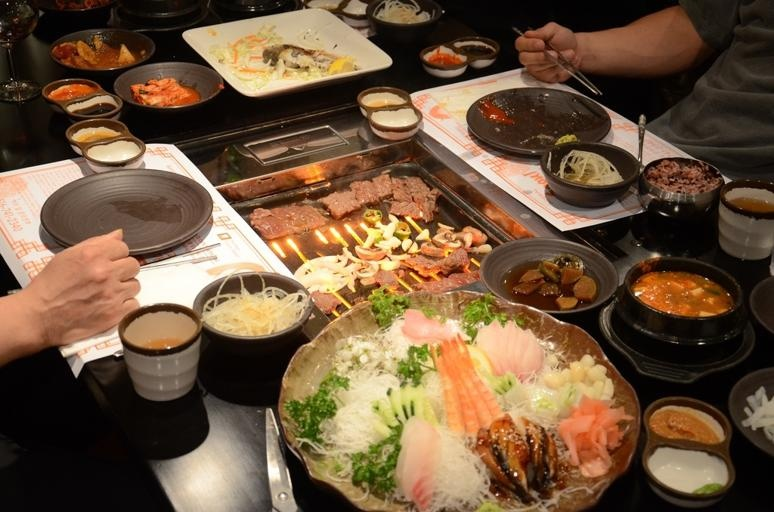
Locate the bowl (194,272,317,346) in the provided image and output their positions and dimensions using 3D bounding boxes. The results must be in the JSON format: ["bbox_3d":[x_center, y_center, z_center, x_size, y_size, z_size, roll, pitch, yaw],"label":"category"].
[{"bbox_3d":[-0.524,0.264,2.253,0.497,0.158,0.453,-3,40,3],"label":"bowl"}]

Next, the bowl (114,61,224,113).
[{"bbox_3d":[-1.428,-1.084,3.491,0.529,0.125,0.503,3,36,-2],"label":"bowl"}]

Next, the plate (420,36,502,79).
[{"bbox_3d":[0.552,-1.491,4.062,0.584,0.133,0.339,-17,47,-20],"label":"plate"}]

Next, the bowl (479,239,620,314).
[{"bbox_3d":[0.791,0.019,2.570,0.467,0.074,0.434,-2,35,2],"label":"bowl"}]

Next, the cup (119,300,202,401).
[{"bbox_3d":[-0.888,0.367,2.158,0.314,0.236,0.326,9,22,-4],"label":"cup"}]

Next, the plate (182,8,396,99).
[{"bbox_3d":[-0.729,-1.471,3.927,1.108,0.192,1.198,-28,53,-18],"label":"plate"}]

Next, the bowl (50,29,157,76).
[{"bbox_3d":[-1.983,-1.402,3.773,0.658,0.172,0.662,-2,50,3],"label":"bowl"}]

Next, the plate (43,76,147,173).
[{"bbox_3d":[-1.701,-0.756,3.168,0.367,0.235,0.963,-29,54,-18],"label":"plate"}]

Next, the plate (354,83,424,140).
[{"bbox_3d":[0.019,-0.925,3.496,0.320,0.112,0.460,-11,42,-14],"label":"plate"}]

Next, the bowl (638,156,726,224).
[{"bbox_3d":[1.573,-0.365,2.904,0.392,0.171,0.397,-2,50,3],"label":"bowl"}]

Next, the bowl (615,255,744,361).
[{"bbox_3d":[1.253,0.241,2.311,0.431,0.237,0.466,1,27,0],"label":"bowl"}]
